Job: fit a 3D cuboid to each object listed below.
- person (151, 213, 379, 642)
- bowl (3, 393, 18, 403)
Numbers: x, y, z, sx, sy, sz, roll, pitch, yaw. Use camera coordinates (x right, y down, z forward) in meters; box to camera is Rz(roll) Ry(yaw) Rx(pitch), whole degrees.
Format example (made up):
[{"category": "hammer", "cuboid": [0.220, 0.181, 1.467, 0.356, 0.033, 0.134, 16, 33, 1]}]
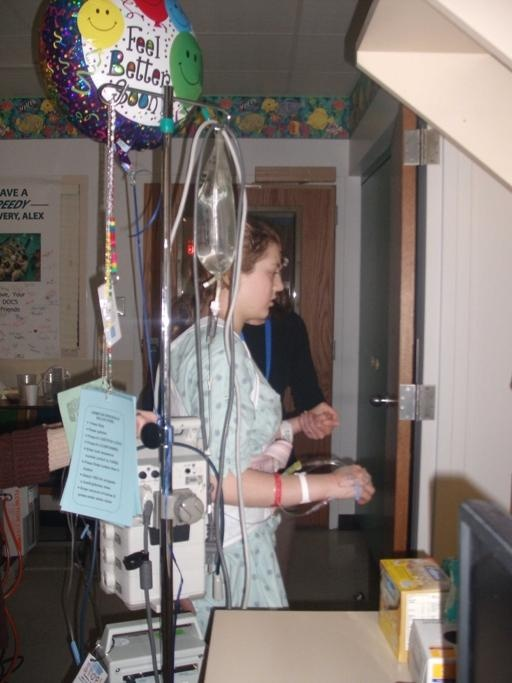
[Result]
[{"category": "person", "cuboid": [-0.033, 0.173, 1.274, 0.395, 0.869, 0.517, 0, 2, 45]}, {"category": "bowl", "cuboid": [-1.270, 0.291, 3.245, 0.076, 0.046, 0.180, -1, 1, -23]}]
